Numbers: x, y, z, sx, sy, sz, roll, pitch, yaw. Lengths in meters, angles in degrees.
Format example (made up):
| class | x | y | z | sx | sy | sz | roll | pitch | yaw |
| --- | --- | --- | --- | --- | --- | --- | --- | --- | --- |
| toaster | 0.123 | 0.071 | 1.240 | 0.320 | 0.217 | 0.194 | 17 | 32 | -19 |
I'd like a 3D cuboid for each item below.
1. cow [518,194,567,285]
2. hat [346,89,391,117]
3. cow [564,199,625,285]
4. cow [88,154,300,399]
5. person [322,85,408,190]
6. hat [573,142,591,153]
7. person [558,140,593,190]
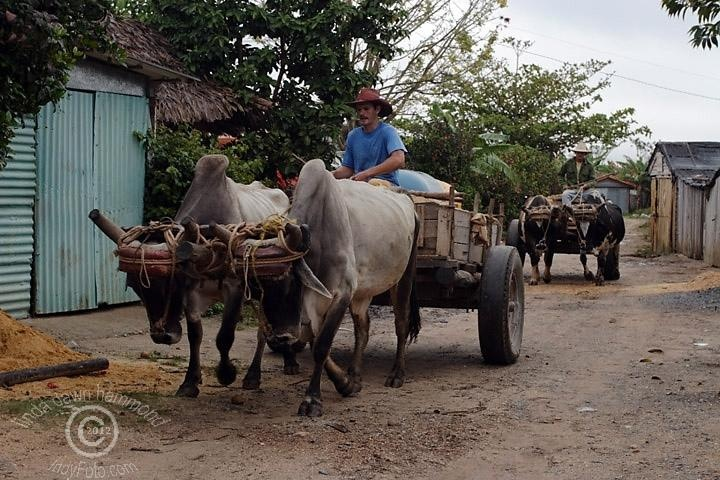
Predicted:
| class | x | y | z | sx | sy | sz | roll | pitch | yaw |
| --- | --- | --- | --- | --- | --- | --- | --- | --- | --- |
| cow | 4.127 | 0.189 | 16.898 | 0.773 | 1.676 | 2.830 | -1 | -6 | 12 |
| hat | 0.156 | -1.781 | 9.653 | 0.493 | 0.379 | 0.587 | 1 | 8 | 3 |
| cow | 5.327 | 0.033 | 16.682 | 0.969 | 1.858 | 3.326 | 3 | 2 | 30 |
| cow | -1.522 | 0.417 | 8.379 | 1.053 | 2.652 | 3.634 | -2 | -1 | 13 |
| person | 0.090 | -1.239 | 9.573 | 0.955 | 1.389 | 0.878 | 2 | 11 | 39 |
| hat | 4.871 | -2.007 | 16.252 | 0.259 | 0.218 | 0.367 | 2 | 8 | 9 |
| person | 4.874 | -1.600 | 16.635 | 0.839 | 1.150 | 0.863 | 7 | 8 | 28 |
